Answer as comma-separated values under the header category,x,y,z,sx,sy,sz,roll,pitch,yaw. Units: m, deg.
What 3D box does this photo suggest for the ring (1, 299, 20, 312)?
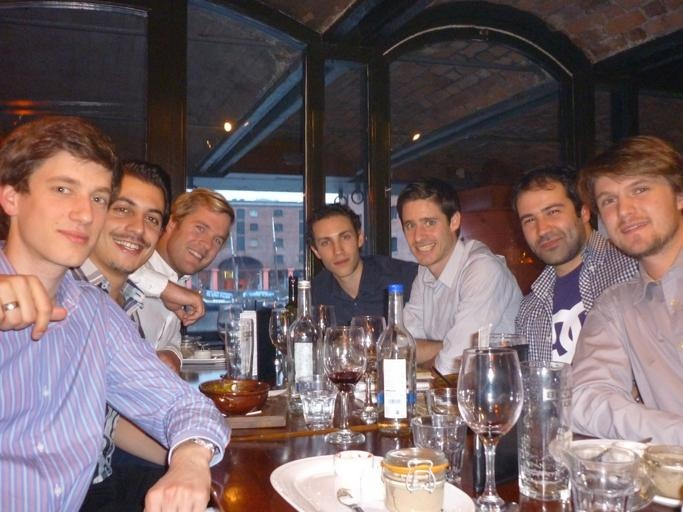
category,x,y,z,sx,sy,sz,roll,pitch,yaw
ring,-0.894,0.137,1.546,0.027,0.020,0.027,2,-3,0

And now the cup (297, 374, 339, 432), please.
category,x,y,z,sx,sy,sz,roll,pitch,yaw
cup,-0.074,0.512,2.001,0.139,0.156,0.140,-1,-12,0

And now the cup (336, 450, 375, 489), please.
category,x,y,z,sx,sy,sz,roll,pitch,yaw
cup,0.034,0.547,1.473,0.083,0.089,0.093,2,-10,-5

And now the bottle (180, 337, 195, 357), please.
category,x,y,z,sx,sy,sz,roll,pitch,yaw
bottle,-0.939,0.554,3.509,0.087,0.100,0.087,4,-9,-15

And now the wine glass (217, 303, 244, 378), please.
category,x,y,z,sx,sy,sz,roll,pitch,yaw
wine glass,-0.500,0.370,2.577,0.103,0.283,0.104,7,16,39

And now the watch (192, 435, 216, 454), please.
category,x,y,z,sx,sy,sz,roll,pitch,yaw
watch,-0.395,0.539,1.626,0.076,0.044,0.027,-2,-4,9

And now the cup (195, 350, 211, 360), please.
category,x,y,z,sx,sy,sz,roll,pitch,yaw
cup,-0.794,0.566,3.273,0.051,0.030,0.052,0,-4,0
